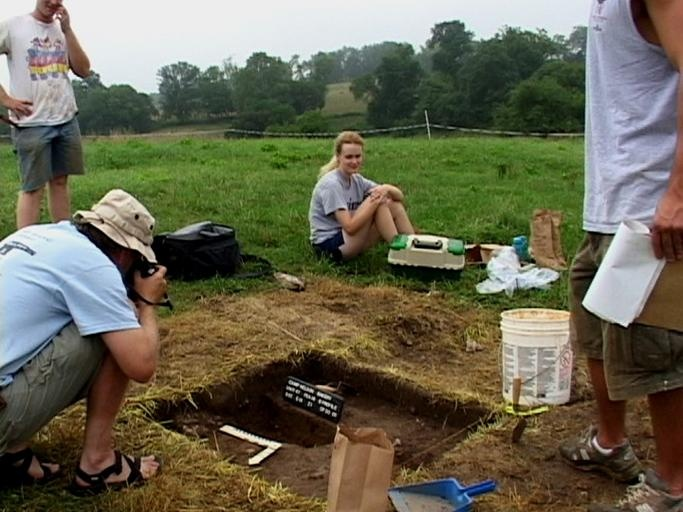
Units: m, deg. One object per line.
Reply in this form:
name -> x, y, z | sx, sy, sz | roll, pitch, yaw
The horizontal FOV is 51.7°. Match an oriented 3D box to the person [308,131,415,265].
person -> 0.292, -0.616, 7.365 | 1.266, 1.347, 0.812 | 1, 14, 17

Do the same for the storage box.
storage box -> 0.843, -0.016, 7.012 | 0.656, 0.296, 0.394 | 1, 23, 1

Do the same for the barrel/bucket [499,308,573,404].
barrel/bucket -> 1.355, 0.676, 5.014 | 0.573, 0.644, 0.604 | -1, 4, 0

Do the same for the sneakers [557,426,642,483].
sneakers -> 1.525, 1.155, 4.252 | 0.242, 0.272, 0.527 | -24, 18, -34

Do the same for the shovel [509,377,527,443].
shovel -> 1.104, 0.993, 4.491 | 0.081, 0.438, 0.125 | 1, -6, 1

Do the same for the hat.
hat -> -1.276, -0.196, 4.124 | 0.558, 0.343, 0.536 | 24, -1, -13

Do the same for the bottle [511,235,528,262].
bottle -> 1.877, -0.095, 7.342 | 0.161, 0.248, 0.261 | 3, 11, 15
